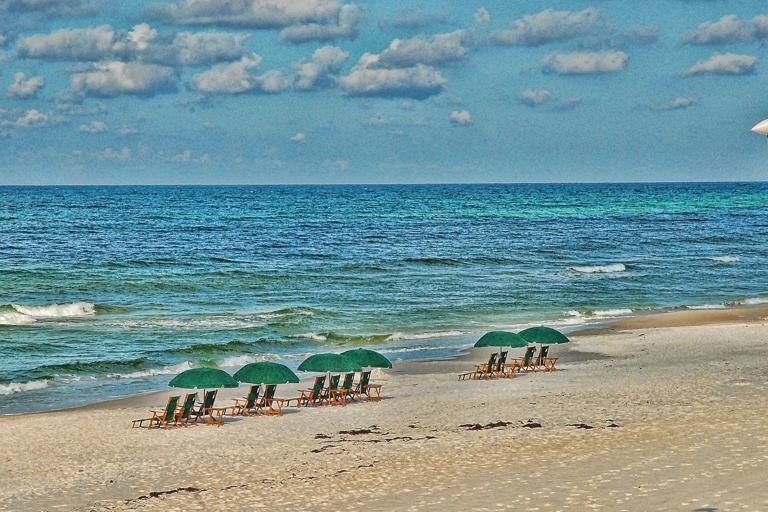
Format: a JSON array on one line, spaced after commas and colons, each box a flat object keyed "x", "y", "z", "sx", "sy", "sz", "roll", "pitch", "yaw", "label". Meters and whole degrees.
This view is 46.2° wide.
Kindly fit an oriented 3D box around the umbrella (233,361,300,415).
[{"x": -4.571, "y": 4.761, "z": 32.975, "sx": 3.297, "sy": 1.327, "sz": 2.417, "roll": 0, "pitch": -4, "yaw": 9, "label": "umbrella"}]
